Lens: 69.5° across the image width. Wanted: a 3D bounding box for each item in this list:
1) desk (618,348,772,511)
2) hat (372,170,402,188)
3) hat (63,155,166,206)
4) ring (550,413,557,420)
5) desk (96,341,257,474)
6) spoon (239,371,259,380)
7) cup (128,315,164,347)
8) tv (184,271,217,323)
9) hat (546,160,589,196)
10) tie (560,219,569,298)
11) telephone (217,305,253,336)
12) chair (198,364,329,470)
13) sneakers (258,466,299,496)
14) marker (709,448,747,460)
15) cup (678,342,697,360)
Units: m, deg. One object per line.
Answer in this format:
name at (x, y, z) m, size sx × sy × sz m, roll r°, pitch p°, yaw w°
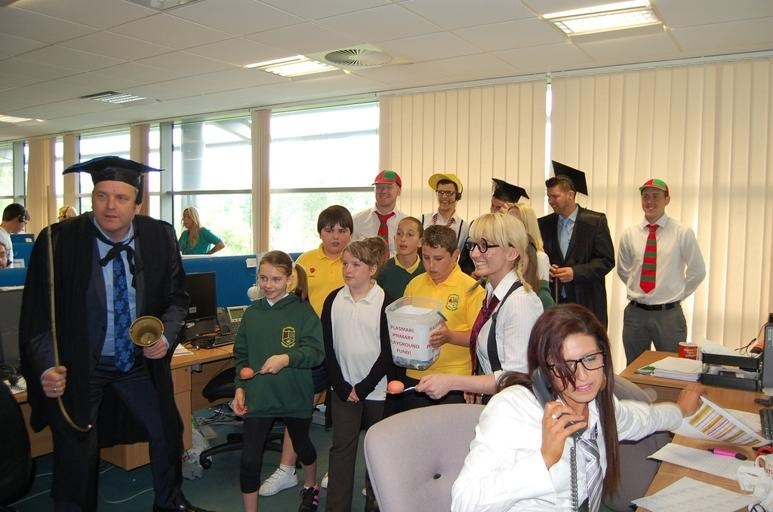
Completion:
desk at (1.812, 0.972, 3.214) m, size 1.084 × 0.498 × 0.578 m, roll 3°, pitch 2°, yaw 20°
hat at (0.023, -0.735, 5.140) m, size 0.210 × 0.136 × 0.288 m, roll -4°, pitch -17°, yaw 24°
hat at (-1.699, -0.504, 3.443) m, size 0.526 × 0.146 × 0.577 m, roll -2°, pitch 8°, yaw 28°
ring at (0.708, 0.679, 2.344) m, size 0.032 × 0.021 × 0.011 m, roll -3°, pitch 6°, yaw -18°
desk at (-1.482, 1.402, 4.717) m, size 1.199 × 0.667 × 0.699 m, roll 14°, pitch -41°, yaw -28°
spoon at (-0.898, 0.773, 3.598) m, size 0.116 × 0.061 × 0.112 m, roll -1°, pitch 4°, yaw -1°
cup at (-1.449, 0.468, 3.366) m, size 0.184 × 0.217 × 0.220 m, roll -3°, pitch 6°, yaw -20°
tv at (-1.636, 0.330, 4.737) m, size 0.046 × 0.440 × 0.496 m, roll -4°, pitch -7°, yaw 23°
hat at (1.767, -0.734, 5.412) m, size 0.110 × 0.419 × 0.444 m, roll -32°, pitch 41°, yaw -26°
tie at (1.610, 0.016, 5.039) m, size 0.115 × 0.686 × 0.089 m, roll -1°, pitch 4°, yaw 5°
telephone at (-1.254, 0.534, 4.540) m, size 0.183 × 0.300 × 0.339 m, roll 0°, pitch 1°, yaw 42°
chair at (-1.062, 1.328, 4.778) m, size 0.939 × 1.384 × 1.000 m, roll 5°, pitch -12°, yaw -8°
sneakers at (-0.819, 1.672, 4.171) m, size 0.116 × 0.156 × 0.367 m, roll 13°, pitch 10°, yaw 37°
marker at (1.756, 1.024, 2.868) m, size 0.118 × 0.024 × 0.024 m, roll 4°, pitch 28°, yaw 43°
cup at (2.239, 0.700, 4.147) m, size 0.131 × 0.128 × 0.128 m, roll -2°, pitch 5°, yaw 0°
